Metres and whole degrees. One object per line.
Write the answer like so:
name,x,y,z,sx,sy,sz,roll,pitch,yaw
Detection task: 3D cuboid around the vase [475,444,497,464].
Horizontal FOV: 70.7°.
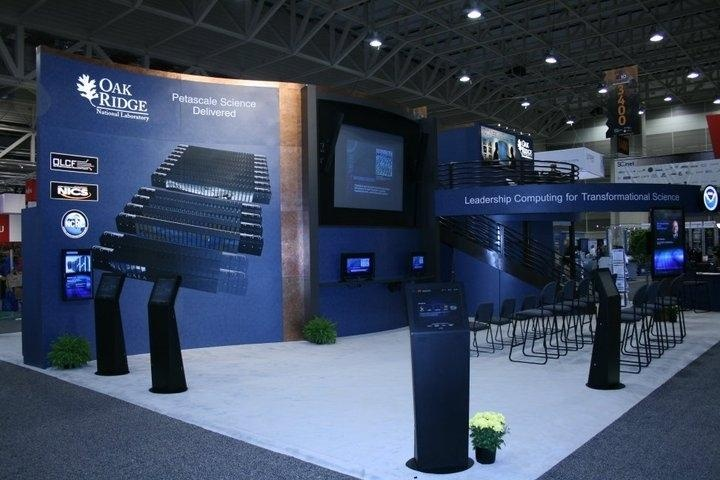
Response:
vase,1.466,2.532,5.964,0.213,0.162,0.217,0,0,18

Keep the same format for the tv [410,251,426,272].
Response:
tv,1.486,0.567,13.227,0.478,0.454,0.239,-5,6,-44
